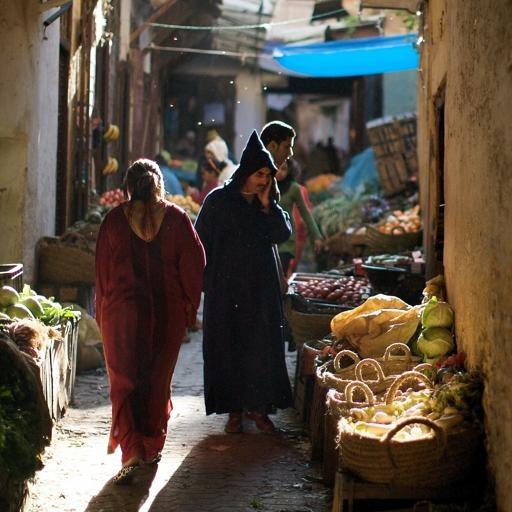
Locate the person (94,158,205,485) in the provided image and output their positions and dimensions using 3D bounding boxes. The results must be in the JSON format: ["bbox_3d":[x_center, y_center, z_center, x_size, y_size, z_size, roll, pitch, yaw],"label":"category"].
[{"bbox_3d":[-0.611,0.360,4.721,0.517,1.780,0.569,0,1,-33],"label":"person"}]

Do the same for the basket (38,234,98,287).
[{"bbox_3d":[-1.628,0.070,7.089,0.468,0.432,0.185,-1,5,-17],"label":"basket"}]

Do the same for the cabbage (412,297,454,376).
[{"bbox_3d":[0.918,0.412,4.265,0.154,0.330,0.169,-1,-22,7],"label":"cabbage"}]

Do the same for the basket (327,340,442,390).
[{"bbox_3d":[0.586,0.548,4.057,0.528,0.220,0.706,1,6,3],"label":"basket"}]

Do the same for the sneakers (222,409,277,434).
[{"bbox_3d":[-0.042,1.065,5.336,0.340,0.178,0.139,-3,-3,5],"label":"sneakers"}]

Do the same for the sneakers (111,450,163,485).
[{"bbox_3d":[-0.627,1.132,4.431,0.253,0.099,0.098,-33,-18,-23],"label":"sneakers"}]

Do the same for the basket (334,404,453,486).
[{"bbox_3d":[0.569,0.728,3.351,0.522,0.283,0.455,4,11,16],"label":"basket"}]

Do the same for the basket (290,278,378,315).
[{"bbox_3d":[0.594,0.321,6.584,0.548,0.270,0.575,0,10,-11],"label":"basket"}]

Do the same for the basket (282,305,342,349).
[{"bbox_3d":[0.406,0.506,6.287,0.387,0.314,0.393,2,11,2],"label":"basket"}]

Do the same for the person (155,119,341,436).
[{"bbox_3d":[-0.059,0.111,5.327,0.535,2.020,0.600,0,1,-22],"label":"person"}]

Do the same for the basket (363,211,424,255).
[{"bbox_3d":[1.501,-0.287,9.100,0.591,0.476,0.964,1,6,10],"label":"basket"}]
